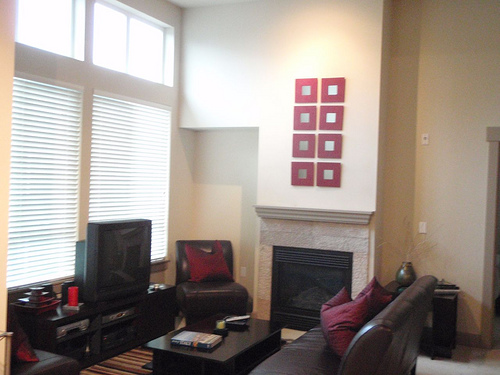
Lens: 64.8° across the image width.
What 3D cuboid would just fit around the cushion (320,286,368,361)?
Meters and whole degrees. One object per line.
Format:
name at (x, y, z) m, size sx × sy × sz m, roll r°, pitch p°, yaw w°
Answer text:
cushion at (0.836, 1.141, 3.486) m, size 0.467 × 0.352 × 0.923 m, roll -18°, pitch -11°, yaw -5°

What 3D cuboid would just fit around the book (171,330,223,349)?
book at (-0.466, 1.345, 3.482) m, size 0.409 × 0.042 × 0.261 m, roll -1°, pitch 1°, yaw 17°

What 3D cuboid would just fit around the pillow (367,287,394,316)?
pillow at (1.042, 0.895, 3.152) m, size 0.202 × 0.185 × 0.060 m, roll -44°, pitch 12°, yaw -34°

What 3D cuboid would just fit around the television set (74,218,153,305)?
television set at (-1.560, 0.796, 4.473) m, size 0.518 × 0.871 × 0.886 m, roll 1°, pitch -1°, yaw 26°

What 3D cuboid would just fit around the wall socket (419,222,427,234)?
wall socket at (2.118, 0.494, 4.806) m, size 0.129 × 0.141 × 0.033 m, roll 1°, pitch 0°, yaw 20°

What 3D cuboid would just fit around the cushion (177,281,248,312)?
cushion at (-0.467, 1.369, 4.881) m, size 0.848 × 0.332 × 0.317 m, roll -2°, pitch 1°, yaw -11°

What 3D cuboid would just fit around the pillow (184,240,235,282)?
pillow at (-0.560, 0.957, 5.109) m, size 0.508 × 0.526 × 0.151 m, roll -4°, pitch -28°, yaw -33°

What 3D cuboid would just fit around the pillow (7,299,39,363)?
pillow at (-1.690, 1.091, 2.962) m, size 0.096 × 0.343 × 0.287 m, roll -20°, pitch -6°, yaw 7°

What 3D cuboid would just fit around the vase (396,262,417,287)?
vase at (1.794, 0.985, 4.533) m, size 0.237 × 0.355 × 0.241 m, roll 1°, pitch -1°, yaw 33°

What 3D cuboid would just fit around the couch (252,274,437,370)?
couch at (0.850, 1.164, 3.131) m, size 1.066 × 0.702 × 1.272 m, roll -1°, pitch 1°, yaw 28°

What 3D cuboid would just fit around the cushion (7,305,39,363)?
cushion at (-1.713, 1.106, 2.973) m, size 0.096 × 0.343 × 0.285 m, roll -16°, pitch -8°, yaw 7°

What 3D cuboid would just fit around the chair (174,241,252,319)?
chair at (-0.525, 1.169, 5.082) m, size 1.057 × 0.888 × 1.117 m, roll -1°, pitch -4°, yaw 25°
